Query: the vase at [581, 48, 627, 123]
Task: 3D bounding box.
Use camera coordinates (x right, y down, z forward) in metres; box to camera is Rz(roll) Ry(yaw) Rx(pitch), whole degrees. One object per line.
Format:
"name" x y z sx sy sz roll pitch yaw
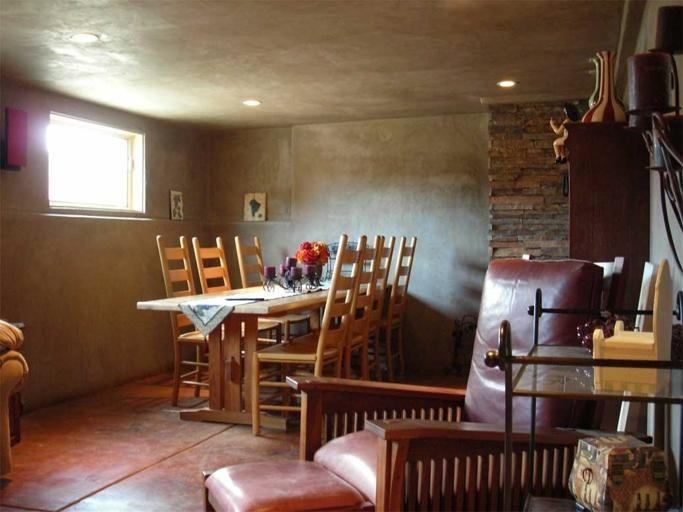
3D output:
"vase" 1.297 -0.829 2.957 0.189 0.373 0.254 2 6 25
